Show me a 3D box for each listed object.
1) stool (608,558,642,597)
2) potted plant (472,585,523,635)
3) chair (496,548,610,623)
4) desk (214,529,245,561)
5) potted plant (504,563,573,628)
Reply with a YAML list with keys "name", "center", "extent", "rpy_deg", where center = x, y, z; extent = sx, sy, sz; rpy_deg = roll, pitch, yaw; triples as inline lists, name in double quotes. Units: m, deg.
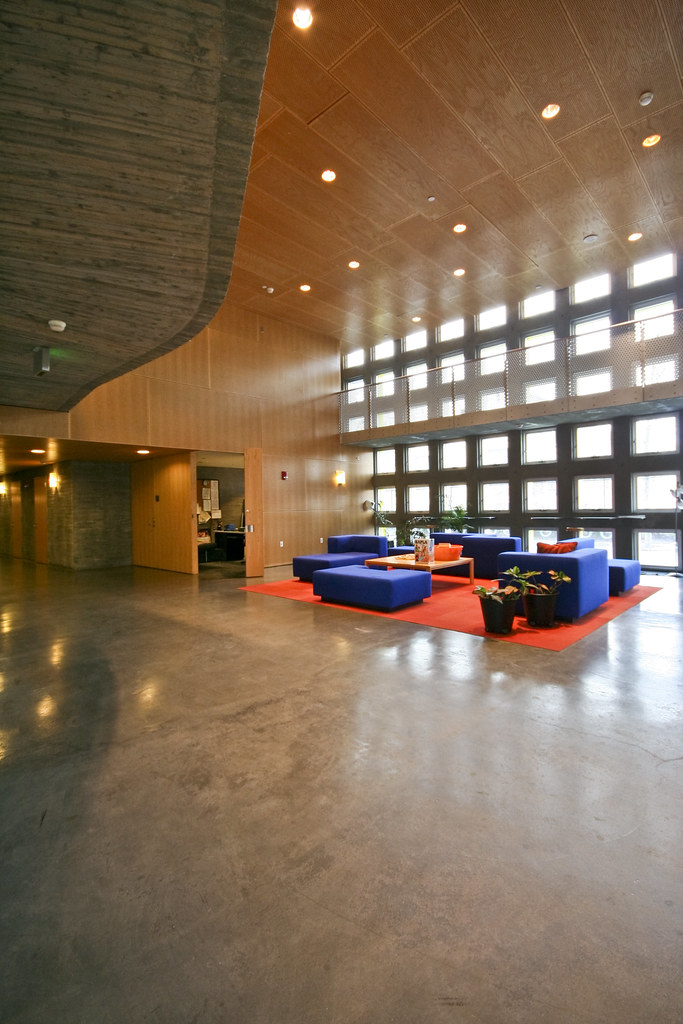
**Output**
- name: "stool"
  center: [3.125, 0.730, 7.661]
  extent: [0.484, 0.380, 0.218]
  rpy_deg: [4, -6, -44]
- name: "potted plant"
  center: [1.319, 0.829, 5.747]
  extent: [0.327, 0.365, 0.380]
  rpy_deg: [-1, -5, 26]
- name: "chair"
  center: [2.084, 0.609, 6.413]
  extent: [0.742, 0.623, 0.740]
  rpy_deg: [1, 7, 38]
- name: "desk"
  center: [-2.296, 0.622, 13.952]
  extent: [0.578, 0.856, 0.797]
  rpy_deg: [-2, 4, -33]
- name: "potted plant"
  center: [1.718, 0.701, 6.011]
  extent: [0.489, 0.446, 0.524]
  rpy_deg: [-1, -2, 18]
